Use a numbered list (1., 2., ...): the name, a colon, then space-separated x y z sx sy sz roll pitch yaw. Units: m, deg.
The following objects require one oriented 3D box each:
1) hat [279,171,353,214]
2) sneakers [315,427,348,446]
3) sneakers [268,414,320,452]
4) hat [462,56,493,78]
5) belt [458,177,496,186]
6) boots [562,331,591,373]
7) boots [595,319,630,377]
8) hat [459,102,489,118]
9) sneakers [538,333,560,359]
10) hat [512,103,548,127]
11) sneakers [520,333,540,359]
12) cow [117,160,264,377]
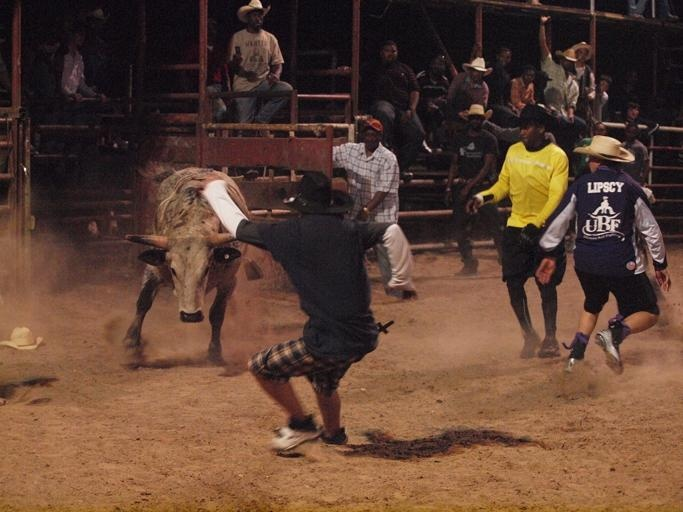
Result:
1. hat: -0.171 -0.458 5.855 0.501 0.301 0.244 2 13 4
2. sneakers: -0.064 1.449 6.365 0.284 0.101 0.096 7 13 6
3. sneakers: -0.353 1.389 6.220 0.397 0.204 0.190 -25 -35 0
4. hat: 2.225 -3.155 13.090 0.420 0.177 0.432 12 -6 5
5. belt: 2.091 -1.142 12.175 0.736 0.157 0.161 1 -2 -16
6. boots: 2.222 0.884 7.429 0.305 0.276 0.441 -2 0 27
7. boots: 2.423 0.820 7.169 0.266 0.504 0.316 13 18 41
8. hat: 2.036 -2.303 12.542 0.457 0.157 0.458 0 -7 6
9. sneakers: 2.095 0.929 8.135 0.177 0.234 0.265 1 17 1
10. hat: 1.879 -1.403 7.978 0.294 0.099 0.310 0 1 -38
11. sneakers: 1.966 0.910 8.225 0.157 0.254 0.328 12 17 39
12. cow: -1.508 0.043 7.976 1.134 1.328 2.596 1 14 -7
